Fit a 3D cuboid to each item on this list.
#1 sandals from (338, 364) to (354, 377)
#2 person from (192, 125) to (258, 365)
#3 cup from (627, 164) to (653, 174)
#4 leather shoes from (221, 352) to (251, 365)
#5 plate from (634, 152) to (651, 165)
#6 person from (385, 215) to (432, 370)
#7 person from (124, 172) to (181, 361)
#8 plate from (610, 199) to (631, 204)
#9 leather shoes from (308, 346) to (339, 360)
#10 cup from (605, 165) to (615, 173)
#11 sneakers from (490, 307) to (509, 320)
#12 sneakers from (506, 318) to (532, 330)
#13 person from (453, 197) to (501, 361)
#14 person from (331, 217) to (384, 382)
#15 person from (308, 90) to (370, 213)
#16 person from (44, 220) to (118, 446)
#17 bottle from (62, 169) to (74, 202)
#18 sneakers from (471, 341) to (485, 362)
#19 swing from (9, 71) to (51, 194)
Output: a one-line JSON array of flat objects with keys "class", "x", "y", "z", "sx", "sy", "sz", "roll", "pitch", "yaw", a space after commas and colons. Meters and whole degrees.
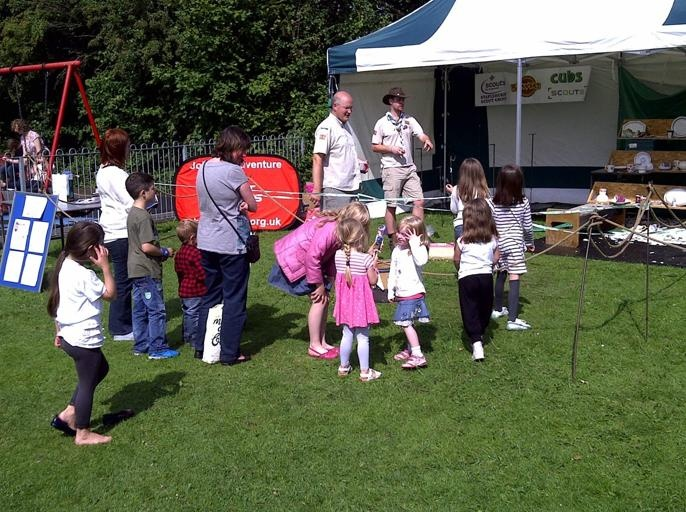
[{"class": "sandals", "x": 0.029, "y": 1.046, "z": 5.804, "sx": 0.074, "sy": 0.115, "sz": 0.225, "roll": -1, "pitch": -7, "yaw": 10}, {"class": "person", "x": -1.080, "y": -0.072, "z": 5.837, "sx": 0.588, "sy": 2.207, "sz": 0.413, "roll": 0, "pitch": 4, "yaw": 0}, {"class": "cup", "x": 5.261, "y": -1.532, "z": 11.136, "sx": 0.372, "sy": 0.161, "sz": 0.324, "roll": 3, "pitch": 5, "yaw": 24}, {"class": "leather shoes", "x": -1.018, "y": 0.987, "z": 6.030, "sx": 0.099, "sy": 0.135, "sz": 0.285, "roll": 11, "pitch": 17, "yaw": 40}, {"class": "plate", "x": 5.406, "y": -1.768, "z": 11.338, "sx": 0.133, "sy": 0.221, "sz": 0.307, "roll": -2, "pitch": 5, "yaw": -33}, {"class": "person", "x": 0.602, "y": 0.344, "z": 5.734, "sx": 0.365, "sy": 1.400, "sz": 0.240, "roll": 1, "pitch": 4, "yaw": 4}, {"class": "person", "x": -1.861, "y": 0.096, "z": 6.119, "sx": 0.448, "sy": 1.793, "sz": 0.418, "roll": -2, "pitch": 4, "yaw": -35}, {"class": "plate", "x": 4.613, "y": -0.912, "z": 10.460, "sx": 0.300, "sy": 0.105, "sz": 0.454, "roll": 3, "pitch": 5, "yaw": 24}, {"class": "leather shoes", "x": -0.187, "y": 0.941, "z": 6.145, "sx": 0.209, "sy": 0.092, "sz": 0.130, "roll": -6, "pitch": -3, "yaw": 26}, {"class": "cup", "x": 4.885, "y": -1.588, "z": 11.456, "sx": 0.160, "sy": 0.157, "sz": 0.140, "roll": 2, "pitch": 0, "yaw": -11}, {"class": "sneakers", "x": 1.749, "y": 0.615, "z": 7.026, "sx": 0.106, "sy": 0.146, "sz": 0.301, "roll": 7, "pitch": 18, "yaw": 38}, {"class": "sneakers", "x": 1.874, "y": 0.708, "z": 6.639, "sx": 0.259, "sy": 0.138, "sz": 0.102, "roll": -1, "pitch": 4, "yaw": -6}, {"class": "person", "x": 1.265, "y": 0.218, "z": 5.985, "sx": 0.409, "sy": 1.528, "sz": 0.272, "roll": 1, "pitch": 4, "yaw": 12}, {"class": "person", "x": 0.148, "y": 0.389, "z": 5.668, "sx": 0.431, "sy": 1.457, "sz": 0.342, "roll": 1, "pitch": 4, "yaw": 4}, {"class": "person", "x": -0.036, "y": -1.205, "z": 7.403, "sx": 0.507, "sy": 1.318, "sz": 0.869, "roll": 3, "pitch": 4, "yaw": 31}, {"class": "person", "x": -1.984, "y": 0.592, "z": 4.804, "sx": 0.475, "sy": 1.709, "sz": 0.219, "roll": -1, "pitch": 4, "yaw": -22}, {"class": "bottle", "x": -3.920, "y": -1.012, "z": 9.024, "sx": 0.097, "sy": 0.426, "sz": 0.614, "roll": -1, "pitch": 4, "yaw": -21}, {"class": "sneakers", "x": 1.279, "y": 0.887, "z": 5.914, "sx": 0.078, "sy": 0.103, "sz": 0.204, "roll": -2, "pitch": -1, "yaw": 4}, {"class": "swing", "x": -5.116, "y": -2.040, "z": 10.326, "sx": 0.547, "sy": 1.909, "sz": 2.439, "roll": -1, "pitch": 5, "yaw": -27}]
